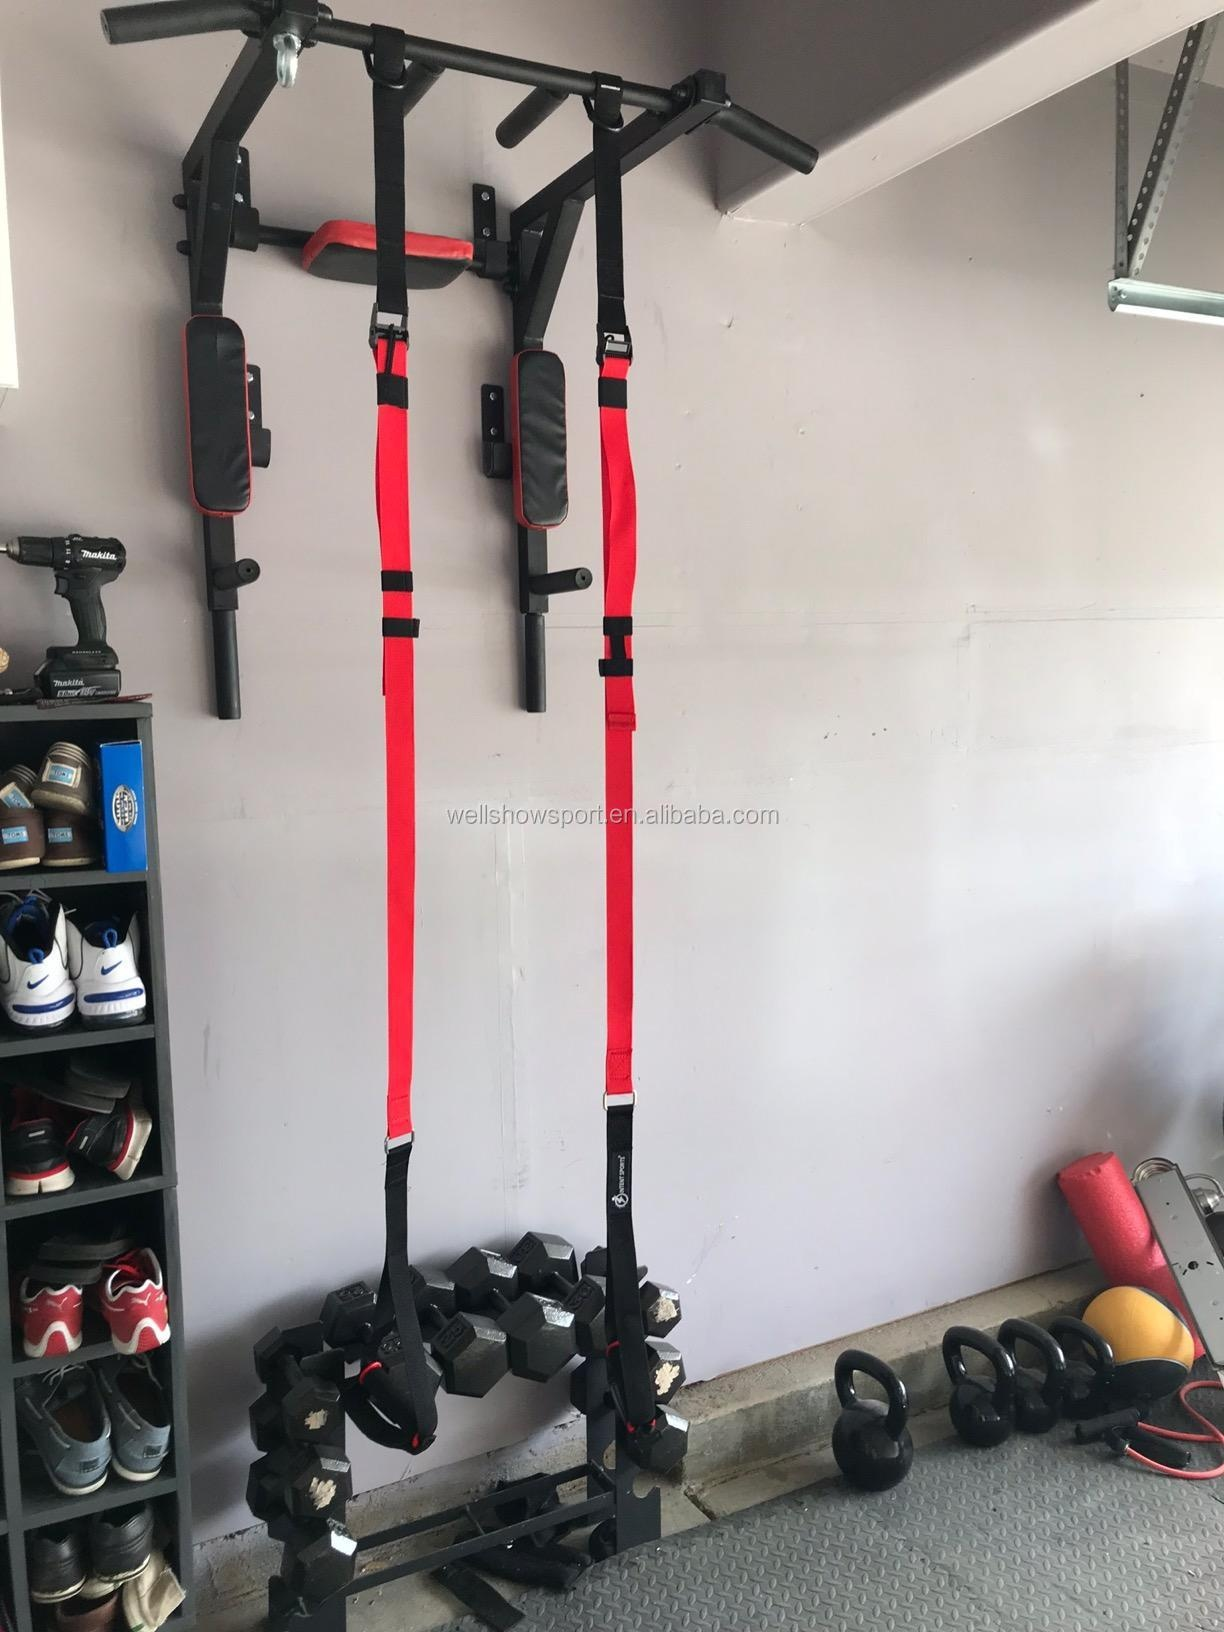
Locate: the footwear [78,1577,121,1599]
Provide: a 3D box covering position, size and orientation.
[{"bbox_3d":[-0.718,1.083,2.083,0.044,0.011,0.044,5,5,44],"label":"footwear"}]

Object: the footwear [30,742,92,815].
[{"bbox_3d":[-0.724,-0.050,1.986,0.046,0.097,0.086,1,6,36],"label":"footwear"}]

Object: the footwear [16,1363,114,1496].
[{"bbox_3d":[-0.759,0.851,2.047,0.085,0.088,0.216,-4,24,-29],"label":"footwear"}]

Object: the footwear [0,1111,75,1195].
[{"bbox_3d":[-0.775,0.453,1.978,0.060,0.050,0.123,-2,8,-19],"label":"footwear"}]

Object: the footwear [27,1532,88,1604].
[{"bbox_3d":[-0.773,1.050,2.077,0.068,0.113,0.078,-4,5,-11],"label":"footwear"}]

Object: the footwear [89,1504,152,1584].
[{"bbox_3d":[-0.686,1.026,2.084,0.056,0.050,0.122,-1,8,-13],"label":"footwear"}]

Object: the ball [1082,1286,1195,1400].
[{"bbox_3d":[1.058,1.060,2.971,0.189,0.162,0.201,28,13,-7],"label":"ball"}]

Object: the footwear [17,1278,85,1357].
[{"bbox_3d":[-0.760,0.676,2.010,0.080,0.086,0.083,-5,5,-18],"label":"footwear"}]

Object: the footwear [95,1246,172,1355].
[{"bbox_3d":[-0.647,0.660,2.014,0.074,0.074,0.175,-4,18,-21],"label":"footwear"}]

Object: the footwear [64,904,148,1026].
[{"bbox_3d":[-0.676,0.216,1.988,0.073,0.082,0.205,-2,10,-17],"label":"footwear"}]

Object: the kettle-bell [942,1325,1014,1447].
[{"bbox_3d":[0.723,1.116,2.897,0.135,0.249,0.177,-2,5,11],"label":"kettle-bell"}]

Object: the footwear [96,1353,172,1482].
[{"bbox_3d":[-0.670,0.845,2.071,0.071,0.075,0.201,-1,21,-24],"label":"footwear"}]

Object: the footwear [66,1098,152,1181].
[{"bbox_3d":[-0.679,0.441,2.020,0.079,0.056,0.167,28,17,-15],"label":"footwear"}]
